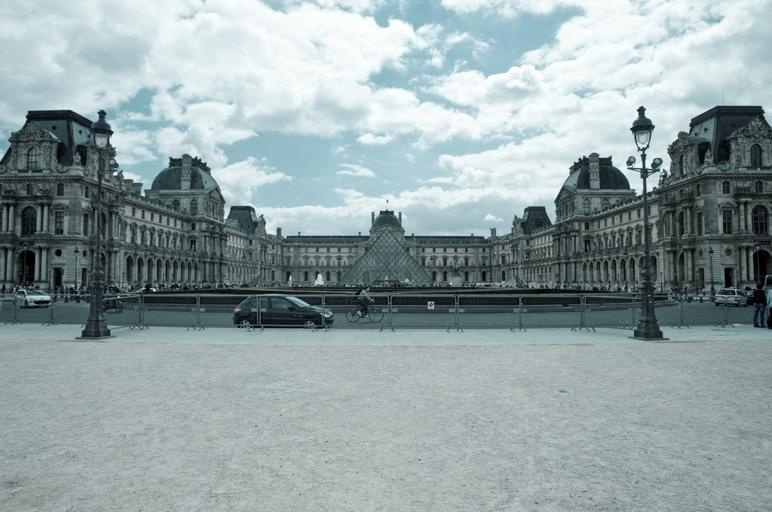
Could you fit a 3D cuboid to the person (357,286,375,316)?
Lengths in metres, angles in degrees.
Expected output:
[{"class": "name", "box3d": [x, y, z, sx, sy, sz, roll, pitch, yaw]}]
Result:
[{"class": "person", "box3d": [-0.822, 2.031, 31.596, 0.744, 1.121, 0.841, -2, -5, 8]}]

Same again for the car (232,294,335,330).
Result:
[{"class": "car", "box3d": [-3.815, 2.121, 28.667, 3.188, 0.939, 1.504, -1, -2, 4]}]

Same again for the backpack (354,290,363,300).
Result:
[{"class": "backpack", "box3d": [-1.180, 1.661, 32.040, 0.341, 0.296, 0.335, -2, -4, -5]}]

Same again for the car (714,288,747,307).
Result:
[{"class": "car", "box3d": [21.217, 2.612, 46.488, 1.526, 1.030, 2.500, -1, 4, 42]}]

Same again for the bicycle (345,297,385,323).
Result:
[{"class": "bicycle", "box3d": [-0.877, 2.324, 31.508, 1.640, 0.882, 0.758, -1, 2, -1]}]
